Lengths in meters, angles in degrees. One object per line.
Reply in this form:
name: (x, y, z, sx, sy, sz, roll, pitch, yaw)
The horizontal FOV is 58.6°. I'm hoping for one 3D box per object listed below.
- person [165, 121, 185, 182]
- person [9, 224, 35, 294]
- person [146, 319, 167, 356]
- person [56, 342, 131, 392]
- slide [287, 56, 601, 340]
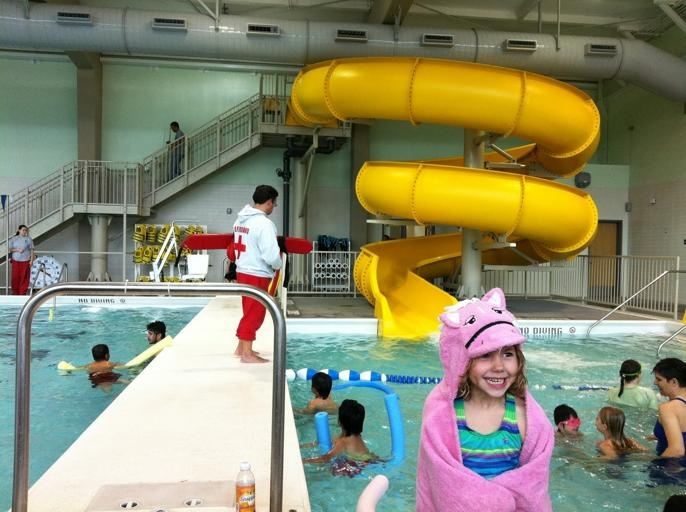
person: (-4.513, -2.906, 16.575, 0.400, 1.761, 1.304, 1, -2, -16)
person: (-7.204, 0.091, 13.630, 0.464, 1.528, 0.949, 2, -2, -28)
person: (-2.555, 1.086, 8.335, 0.218, 0.359, 0.727, 2, -2, -19)
person: (-3.106, 1.360, 7.684, 0.596, 0.463, 1.005, 2, -2, -39)
slide: (2.806, -0.869, 11.835, 5.358, 4.252, 5.384, 1, 9, 8)
